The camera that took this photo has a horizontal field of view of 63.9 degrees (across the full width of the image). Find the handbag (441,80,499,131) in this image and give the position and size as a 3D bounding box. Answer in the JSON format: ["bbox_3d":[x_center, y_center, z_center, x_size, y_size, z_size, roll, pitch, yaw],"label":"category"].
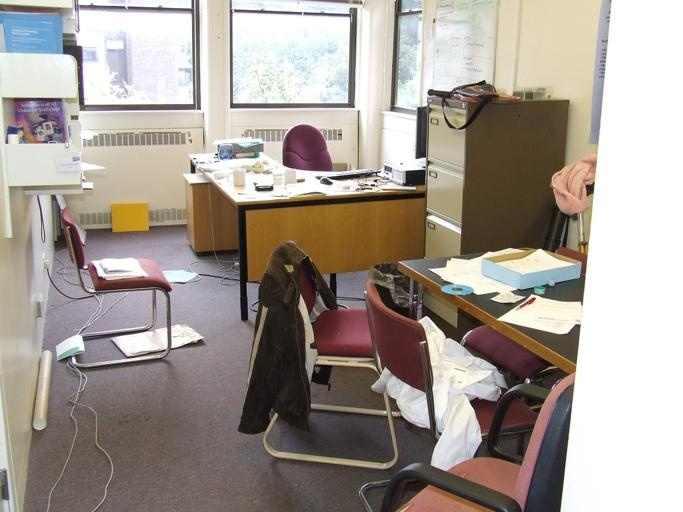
[{"bbox_3d":[0.847,-1.046,3.666,0.358,0.134,0.359,-23,28,-32],"label":"handbag"}]

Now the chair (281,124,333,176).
[{"bbox_3d":[-0.352,-1.150,5.837,0.415,0.619,0.532,-7,26,-20],"label":"chair"}]
